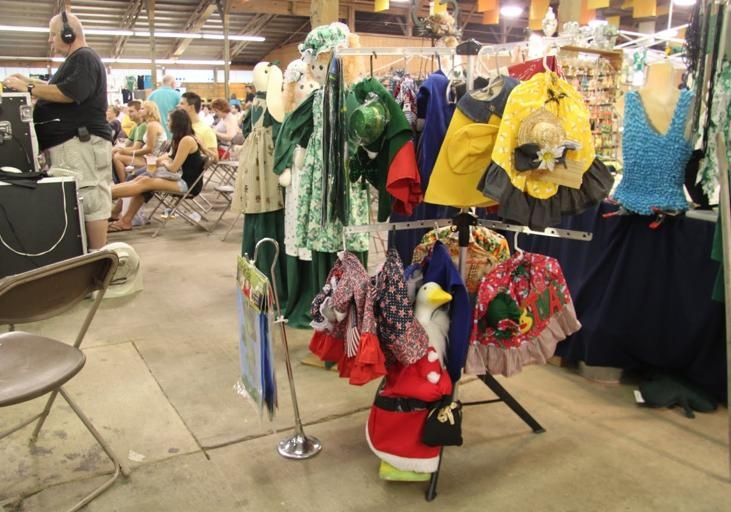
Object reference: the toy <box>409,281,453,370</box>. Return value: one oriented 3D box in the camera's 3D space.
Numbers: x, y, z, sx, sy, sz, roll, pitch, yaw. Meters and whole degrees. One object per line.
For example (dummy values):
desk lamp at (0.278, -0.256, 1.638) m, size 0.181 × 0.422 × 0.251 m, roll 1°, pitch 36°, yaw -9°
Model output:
toy at (0.289, 0.288, 2.252) m, size 0.156 × 0.338 × 0.177 m, roll 0°, pitch 17°, yaw -1°

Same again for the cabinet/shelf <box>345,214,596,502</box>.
cabinet/shelf at (0.399, 0.385, 2.354) m, size 1.047 × 1.119 × 0.643 m, roll 4°, pitch 16°, yaw 25°

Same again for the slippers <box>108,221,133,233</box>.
slippers at (-3.017, -0.356, 6.423) m, size 0.096 × 0.109 × 0.271 m, roll 3°, pitch 2°, yaw 31°

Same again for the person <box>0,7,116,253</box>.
person at (-2.379, -0.973, 4.181) m, size 0.607 × 1.840 × 0.540 m, roll -5°, pitch 18°, yaw -17°

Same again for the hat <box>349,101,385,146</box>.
hat at (-0.001, -0.605, 2.309) m, size 0.182 × 0.178 × 0.228 m, roll 7°, pitch 28°, yaw 16°

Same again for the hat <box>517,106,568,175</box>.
hat at (0.692, -0.461, 2.067) m, size 0.198 × 0.235 × 0.116 m, roll 2°, pitch 17°, yaw 6°

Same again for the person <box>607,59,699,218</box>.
person at (1.541, -0.619, 2.757) m, size 0.356 × 0.757 × 0.290 m, roll 8°, pitch 19°, yaw 25°
